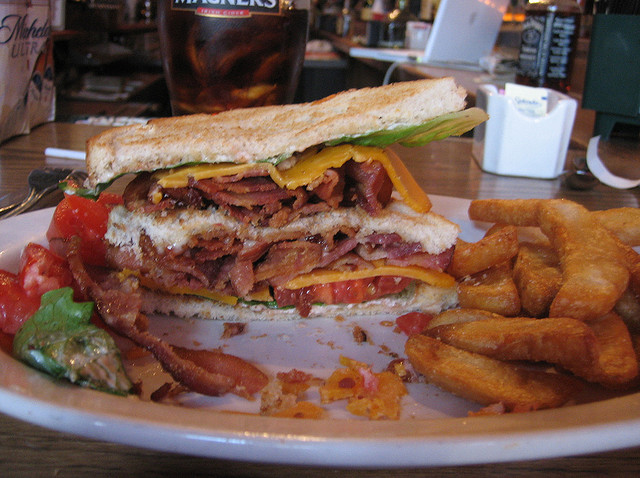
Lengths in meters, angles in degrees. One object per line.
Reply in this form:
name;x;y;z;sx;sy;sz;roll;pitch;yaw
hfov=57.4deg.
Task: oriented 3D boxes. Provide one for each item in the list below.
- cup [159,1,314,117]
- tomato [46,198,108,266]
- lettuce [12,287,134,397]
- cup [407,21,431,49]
cup;-0.344;-0.710;2.350;0.545;0.370;0.473;8;14;34
tomato;-0.808;-0.015;1.956;0.257;0.216;0.197;-2;-2;29
lettuce;-0.677;0.262;1.554;0.063;0.274;0.312;-29;-13;21
cup;1.315;-2.678;8.015;0.332;0.381;0.426;4;-4;5
